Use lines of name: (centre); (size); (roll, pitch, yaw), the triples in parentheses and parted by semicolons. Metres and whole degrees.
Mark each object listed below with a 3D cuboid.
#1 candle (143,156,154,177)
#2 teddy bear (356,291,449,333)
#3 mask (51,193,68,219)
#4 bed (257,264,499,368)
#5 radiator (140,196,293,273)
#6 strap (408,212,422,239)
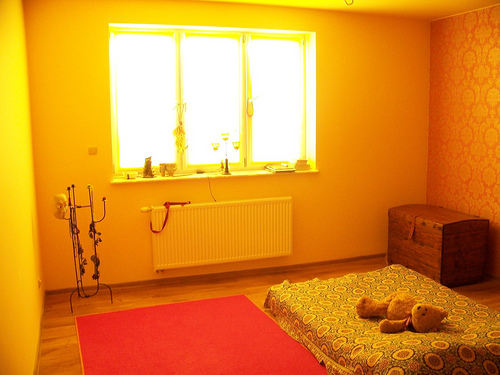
candle: (-1.220, -0.245, 4.609); (0.107, 0.232, 0.075); (-3, 10, -15)
teddy bear: (1.193, 1.000, 3.105); (0.332, 0.190, 0.511); (-11, 6, -42)
mask: (-1.850, 0.164, 3.826); (0.185, 0.345, 0.273); (-2, 6, -23)
bed: (1.180, 1.090, 3.101); (1.015, 0.230, 1.032); (-2, 5, -20)
radiator: (-0.345, 0.546, 4.711); (1.826, 0.749, 0.121); (-3, 10, -17)
strap: (2.053, 0.485, 4.772); (0.149, 0.313, 0.091); (-3, 10, -11)
